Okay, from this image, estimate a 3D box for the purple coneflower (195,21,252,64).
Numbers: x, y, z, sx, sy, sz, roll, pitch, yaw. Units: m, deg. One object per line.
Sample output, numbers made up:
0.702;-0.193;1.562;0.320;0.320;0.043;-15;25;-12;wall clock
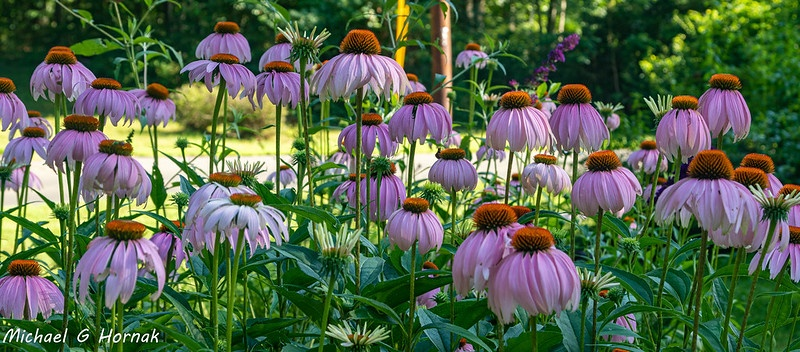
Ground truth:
-4.307;-3.321;23.569;1.071;0.723;1.099;7;8;37;purple coneflower
